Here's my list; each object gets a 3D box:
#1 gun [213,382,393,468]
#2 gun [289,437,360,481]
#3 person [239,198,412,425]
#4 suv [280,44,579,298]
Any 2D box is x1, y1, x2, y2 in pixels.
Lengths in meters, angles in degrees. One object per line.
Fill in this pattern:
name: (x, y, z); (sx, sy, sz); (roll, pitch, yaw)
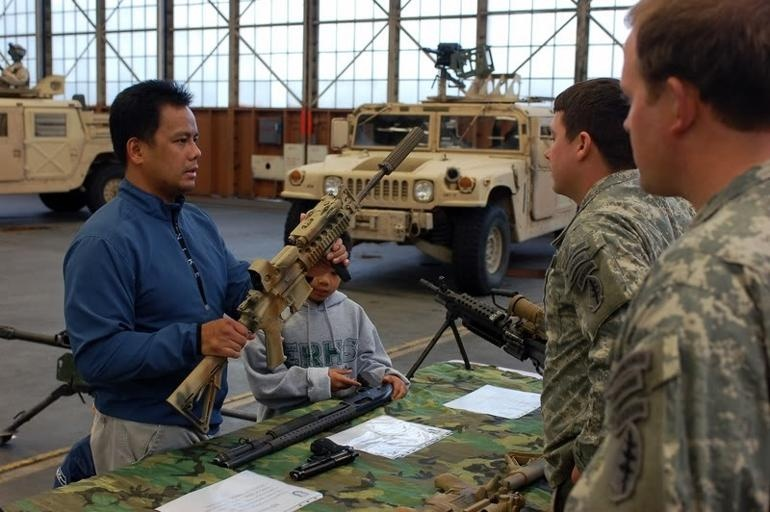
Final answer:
gun: (-0.275, 0.630, 2.812); (0.176, 0.084, 0.768); (12, 22, 36)
gun: (-0.202, 0.680, 2.518); (0.166, 0.066, 0.230); (1, 8, 16)
person: (-0.245, 0.518, 3.293); (0.657, 0.846, 0.519); (-4, 11, -19)
suv: (0.829, -1.045, 8.976); (2.023, 2.242, 3.607); (1, 3, 25)
